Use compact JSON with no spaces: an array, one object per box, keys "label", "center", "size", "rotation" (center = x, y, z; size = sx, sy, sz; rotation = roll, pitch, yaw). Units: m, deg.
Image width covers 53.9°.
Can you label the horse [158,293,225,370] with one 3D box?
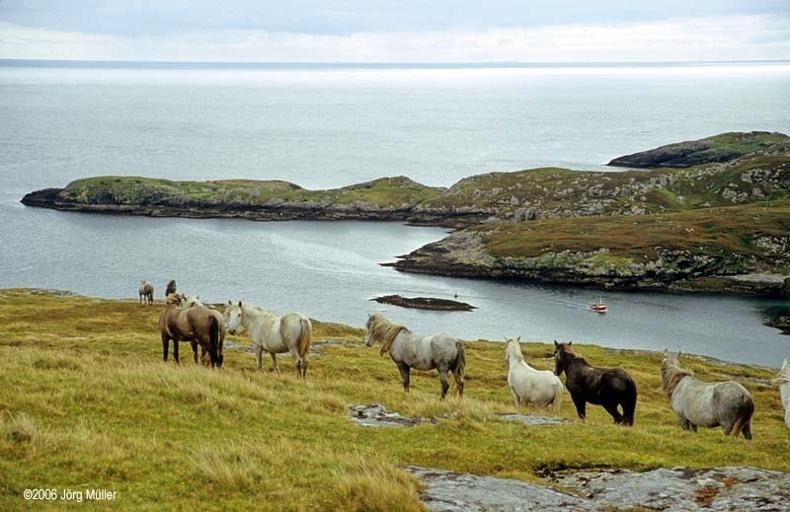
[{"label":"horse","center":[-17.563,6.382,67.689],"size":[12.020,6.484,3.163],"rotation":[6,4,44]}]
